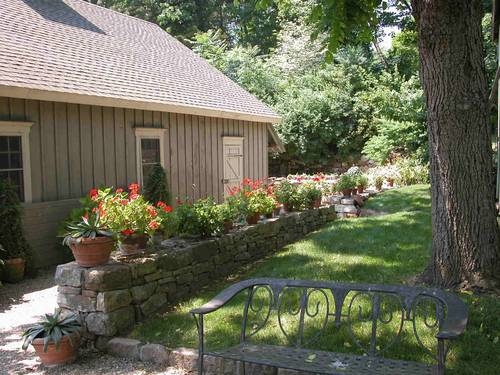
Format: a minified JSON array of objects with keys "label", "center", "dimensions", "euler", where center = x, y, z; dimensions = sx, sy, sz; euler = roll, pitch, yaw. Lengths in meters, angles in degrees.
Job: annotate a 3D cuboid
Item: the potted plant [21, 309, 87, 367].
[{"label":"potted plant","center":[-2.463,1.923,5.995],"dimensions":[0.714,0.598,0.711],"euler":[-5,0,9]}]
